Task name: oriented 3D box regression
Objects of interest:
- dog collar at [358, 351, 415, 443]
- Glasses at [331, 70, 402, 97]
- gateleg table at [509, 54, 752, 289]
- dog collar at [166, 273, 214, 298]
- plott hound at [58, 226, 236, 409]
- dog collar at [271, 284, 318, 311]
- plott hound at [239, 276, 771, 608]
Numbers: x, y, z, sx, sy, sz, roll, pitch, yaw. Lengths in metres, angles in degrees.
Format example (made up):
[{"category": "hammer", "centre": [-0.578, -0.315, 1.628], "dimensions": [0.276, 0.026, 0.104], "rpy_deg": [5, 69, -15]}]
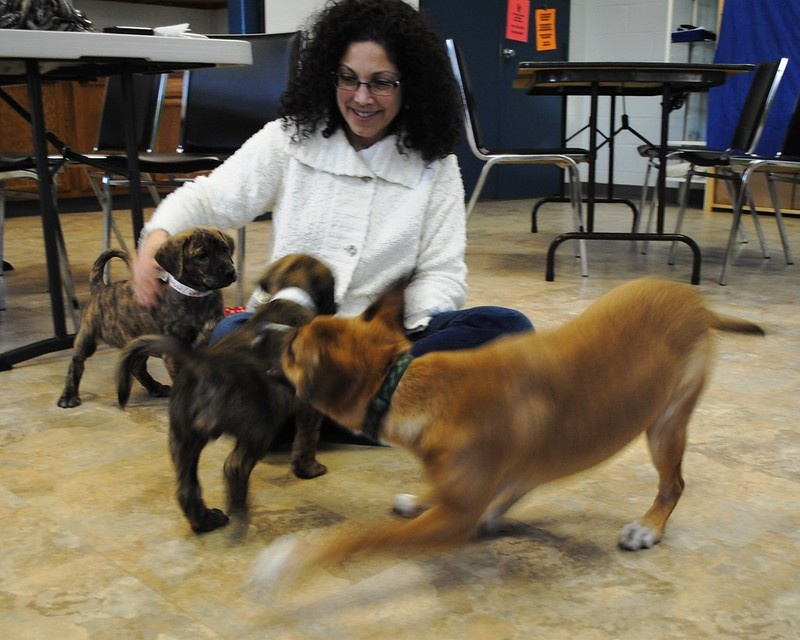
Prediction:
[{"category": "dog collar", "centre": [-0.003, 0.108, 0.893], "dimensions": [0.042, 0.091, 0.110], "rpy_deg": [34, 53, -3]}, {"category": "Glasses", "centre": [-0.079, -0.587, 1.619], "dimensions": [0.143, 0.025, 0.108], "rpy_deg": [1, 9, 4]}, {"category": "gateleg table", "centre": [1.399, -0.938, 4.245], "dimensions": [1.347, 1.338, 1.375], "rpy_deg": [5, 11, 9]}, {"category": "dog collar", "centre": [-0.641, -0.108, 1.992], "dimensions": [0.105, 0.018, 0.103], "rpy_deg": [13, -3, 30]}, {"category": "plott hound", "centre": [-0.786, 0.000, 2.122], "dimensions": [0.834, 0.428, 0.358], "rpy_deg": [-9, -4, 39]}, {"category": "dog collar", "centre": [-0.214, -0.042, 1.267], "dimensions": [0.072, 0.045, 0.063], "rpy_deg": [19, 29, 22]}, {"category": "plott hound", "centre": [0.209, 0.218, 1.053], "dimensions": [0.740, 0.588, 0.382], "rpy_deg": [-7, 17, -44]}]
